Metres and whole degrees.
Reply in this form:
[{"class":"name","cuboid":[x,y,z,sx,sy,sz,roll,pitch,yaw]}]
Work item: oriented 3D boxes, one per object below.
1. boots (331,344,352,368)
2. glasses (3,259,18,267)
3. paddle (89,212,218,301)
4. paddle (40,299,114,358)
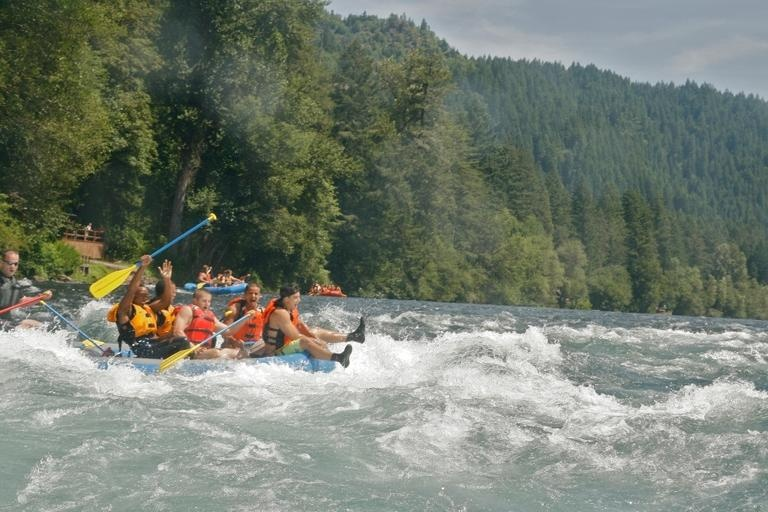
[{"class":"boots","cuboid":[-1.208,2.827,28.155,0.622,0.875,0.325,9,2,-2]},{"class":"glasses","cuboid":[-10.980,0.169,28.841,0.393,0.157,0.215,0,7,-33]},{"class":"paddle","cuboid":[-6.951,-0.081,29.890,0.437,0.950,5.386,43,47,11]},{"class":"paddle","cuboid":[-9.475,2.229,30.202,2.158,0.398,0.236,39,39,13]}]
